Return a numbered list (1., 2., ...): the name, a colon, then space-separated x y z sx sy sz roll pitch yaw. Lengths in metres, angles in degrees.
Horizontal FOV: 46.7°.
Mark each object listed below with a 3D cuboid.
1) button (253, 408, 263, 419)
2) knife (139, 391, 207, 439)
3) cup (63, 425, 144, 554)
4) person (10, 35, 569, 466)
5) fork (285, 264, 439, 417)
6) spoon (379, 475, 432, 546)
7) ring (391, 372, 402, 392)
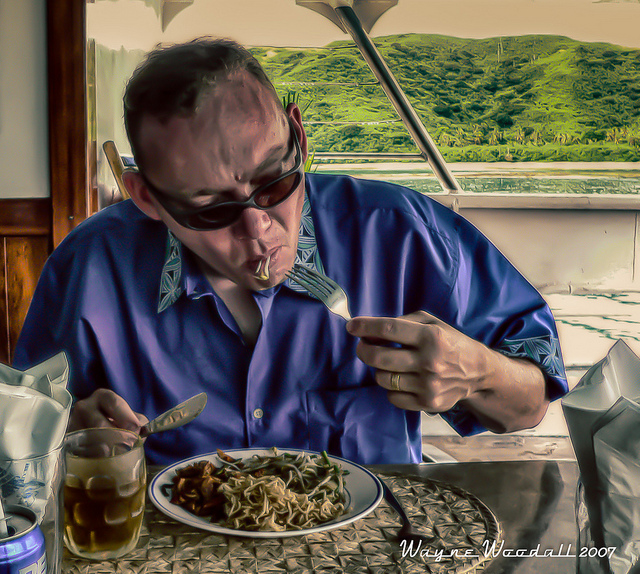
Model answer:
1. button: -0.168 0.340 2.004 0.027 0.025 0.006 -7 -2 -29
2. knife: -0.314 0.266 1.544 0.156 0.071 0.101 -4 6 -30
3. cup: -0.369 0.375 1.399 0.182 0.215 0.212 -1 -3 -7
4. person: -0.099 -0.048 1.937 1.408 1.133 0.833 -2 6 -13
5. fork: 0.091 0.147 1.907 0.071 0.540 0.061 -42 -12 -10
6. spoon: 0.161 0.441 1.471 0.034 0.030 0.201 3 23 -20
7. ring: 0.171 0.209 1.661 0.014 0.042 0.044 -2 -1 17
